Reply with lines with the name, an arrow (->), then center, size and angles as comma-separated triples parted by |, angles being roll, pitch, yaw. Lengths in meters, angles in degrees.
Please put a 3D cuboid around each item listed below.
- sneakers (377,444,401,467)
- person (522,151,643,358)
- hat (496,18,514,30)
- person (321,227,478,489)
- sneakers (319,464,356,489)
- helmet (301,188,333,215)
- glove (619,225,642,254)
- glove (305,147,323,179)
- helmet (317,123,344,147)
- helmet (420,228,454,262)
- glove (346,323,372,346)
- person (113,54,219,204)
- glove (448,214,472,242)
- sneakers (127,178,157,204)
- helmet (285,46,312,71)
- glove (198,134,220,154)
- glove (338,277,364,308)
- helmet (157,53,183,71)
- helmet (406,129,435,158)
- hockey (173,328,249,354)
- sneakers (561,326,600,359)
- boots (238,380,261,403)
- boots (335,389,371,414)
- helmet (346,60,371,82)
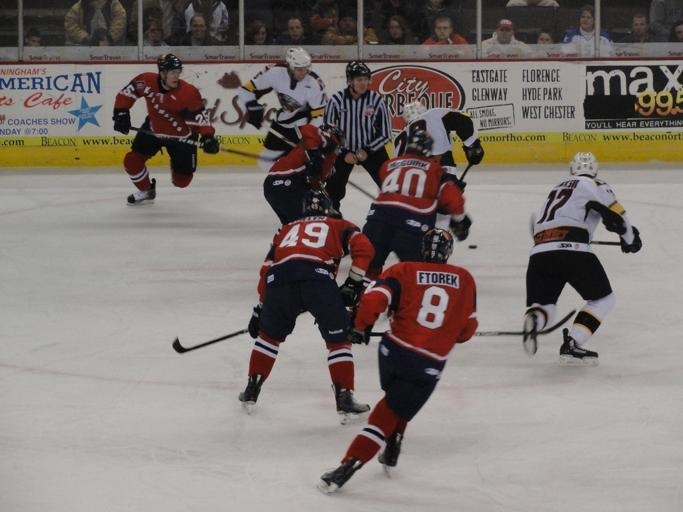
sneakers -> 0.269, 1.187, 6.243 | 0.121, 0.134, 0.081 | 1, 9, -2
person -> 1.706, 0.070, 7.585 | 0.763, 1.220, 0.809 | 4, 9, 14
hat -> 1.921, -2.773, 12.675 | 0.149, 0.104, 0.201 | 2, 8, 4
person -> 0.304, 0.585, 6.297 | 0.936, 1.450, 0.349 | -4, 10, -31
sneakers -> -0.030, 1.269, 6.063 | 0.197, 0.070, 0.109 | -34, 11, -12
helmet -> -0.170, -0.361, 6.951 | 0.151, 0.180, 0.172 | 2, 7, 8
glove -> 2.153, -0.114, 7.939 | 0.161, 0.197, 0.215 | -4, -26, 8
glove -> -0.231, -0.734, 8.254 | 0.082, 0.203, 0.151 | 0, 16, -16
helmet -> -0.075, -0.951, 8.383 | 0.206, 0.142, 0.178 | -5, -11, -38
helmet -> 0.573, -0.056, 6.443 | 0.177, 0.201, 0.198 | 5, -34, 6
glove -> 0.106, 0.489, 6.471 | 0.102, 0.075, 0.153 | 0, 0, -10
person -> -1.727, -1.215, 10.375 | 0.697, 1.460, 1.315 | -7, 12, -44
glove -> 0.873, -0.211, 7.755 | 0.149, 0.185, 0.085 | 7, 29, 21
sneakers -> -2.034, -0.642, 10.744 | 0.425, 0.274, 0.144 | -6, 19, -17
helmet -> -0.388, -1.683, 9.097 | 0.215, 0.198, 0.162 | 18, 55, 21
glove -> -1.238, -1.053, 9.945 | 0.158, 0.179, 0.254 | 0, 8, -11
glove -> 0.051, 0.234, 6.887 | 0.146, 0.190, 0.082 | 25, -2, -8
helmet -> -1.626, -1.816, 10.026 | 0.222, 0.206, 0.164 | -5, 39, -2
helmet -> 0.547, -0.812, 7.793 | 0.215, 0.201, 0.164 | -1, 18, -40
hockey -> -0.919, 0.572, 7.283 | 0.498, 0.232, 0.486 | 0, 8, -9
sneakers -> 1.645, 0.617, 7.356 | 0.265, 0.196, 0.168 | 3, 9, 11
boots -> -0.592, 0.866, 6.790 | 0.143, 0.168, 0.198 | 0, 8, -6
boots -> 0.029, 0.929, 6.690 | 0.275, 0.167, 0.095 | -2, -4, -5
helmet -> 0.113, -1.507, 8.679 | 0.211, 0.185, 0.159 | -3, 22, 7
